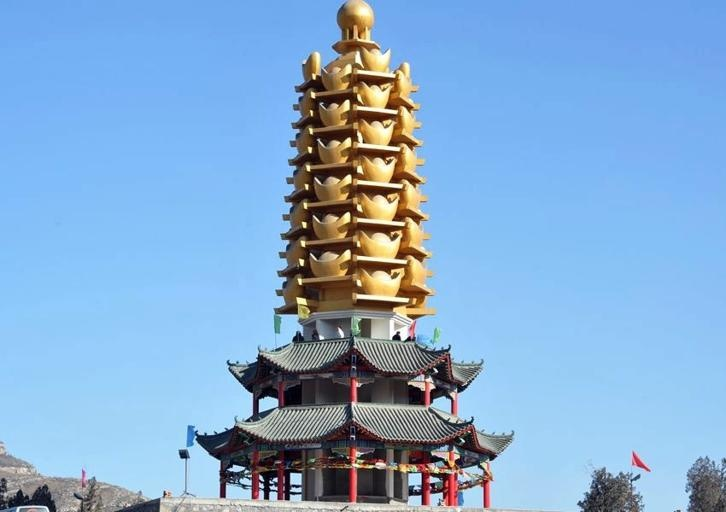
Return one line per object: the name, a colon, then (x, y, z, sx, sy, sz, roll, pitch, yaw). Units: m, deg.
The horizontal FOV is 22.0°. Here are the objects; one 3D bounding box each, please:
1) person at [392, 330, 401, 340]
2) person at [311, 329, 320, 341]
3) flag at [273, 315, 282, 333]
person: (2.873, 6.086, 142.202, 0.646, 0.935, 0.494, 2, -4, 4)
person: (-3.312, 5.985, 142.320, 0.580, 1.348, 0.622, -4, -22, -2)
flag: (-6.257, 5.219, 143.369, 0.335, 1.570, 0.476, 0, -21, 6)
